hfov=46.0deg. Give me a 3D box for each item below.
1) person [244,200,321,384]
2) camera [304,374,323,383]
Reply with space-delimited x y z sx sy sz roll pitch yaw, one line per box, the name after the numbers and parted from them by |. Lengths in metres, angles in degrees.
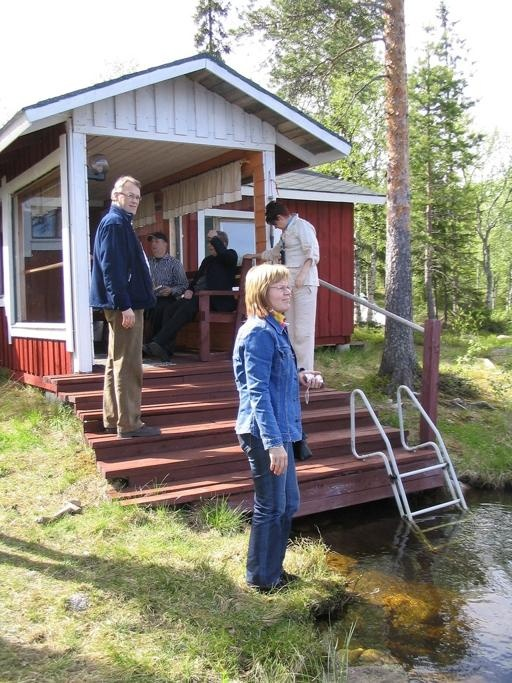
0.291 -0.515 6.045 0.628 1.724 0.886 5 -9 -37 | person
0.299 0.186 3.044 0.062 0.021 0.052 0 4 -17 | camera
